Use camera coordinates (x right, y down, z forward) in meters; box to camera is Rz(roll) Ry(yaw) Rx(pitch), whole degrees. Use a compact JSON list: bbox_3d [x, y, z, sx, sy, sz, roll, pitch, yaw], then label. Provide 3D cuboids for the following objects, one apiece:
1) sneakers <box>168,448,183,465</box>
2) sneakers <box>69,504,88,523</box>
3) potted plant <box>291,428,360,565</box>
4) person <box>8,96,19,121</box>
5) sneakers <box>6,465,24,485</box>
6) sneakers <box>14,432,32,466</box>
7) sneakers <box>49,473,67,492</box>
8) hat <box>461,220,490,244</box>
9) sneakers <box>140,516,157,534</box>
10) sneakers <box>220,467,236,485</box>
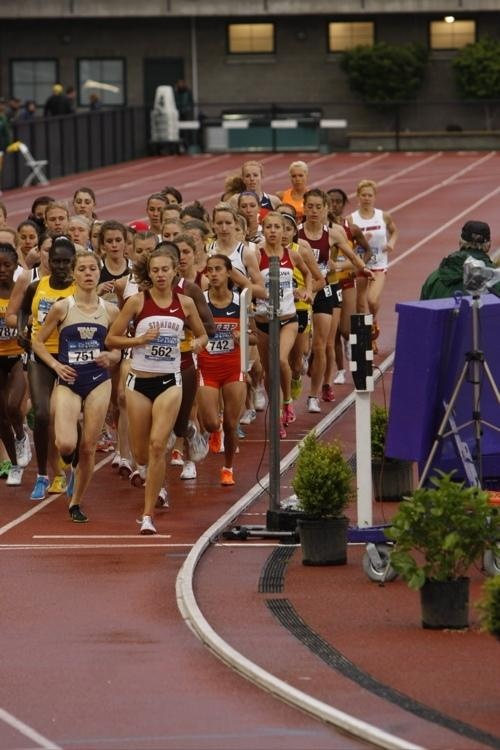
[{"bbox_3d":[-0.809,0.922,9.308,0.122,0.187,0.237,-3,1,-9],"label":"sneakers"},{"bbox_3d":[-1.444,1.170,7.068,0.085,0.094,0.223,-1,-2,-23],"label":"sneakers"},{"bbox_3d":[0.476,0.837,5.565,0.385,0.877,0.369,-2,2,6],"label":"potted plant"},{"bbox_3d":[-9.435,-10.598,33.631,0.416,0.747,1.099,-3,1,-16],"label":"person"},{"bbox_3d":[-2.390,1.025,8.591,0.101,0.118,0.282,0,19,-3],"label":"sneakers"},{"bbox_3d":[-2.383,0.787,8.870,0.124,0.350,0.152,-1,-4,-2],"label":"sneakers"},{"bbox_3d":[-1.829,1.055,8.108,0.110,0.125,0.299,-2,2,2],"label":"sneakers"},{"bbox_3d":[1.604,-1.012,6.045,0.184,0.125,0.188,6,17,7],"label":"hat"},{"bbox_3d":[-0.793,1.164,6.528,0.080,0.089,0.194,0,2,-1],"label":"sneakers"},{"bbox_3d":[-0.227,0.988,8.207,0.113,0.192,0.176,-2,1,8],"label":"sneakers"}]
